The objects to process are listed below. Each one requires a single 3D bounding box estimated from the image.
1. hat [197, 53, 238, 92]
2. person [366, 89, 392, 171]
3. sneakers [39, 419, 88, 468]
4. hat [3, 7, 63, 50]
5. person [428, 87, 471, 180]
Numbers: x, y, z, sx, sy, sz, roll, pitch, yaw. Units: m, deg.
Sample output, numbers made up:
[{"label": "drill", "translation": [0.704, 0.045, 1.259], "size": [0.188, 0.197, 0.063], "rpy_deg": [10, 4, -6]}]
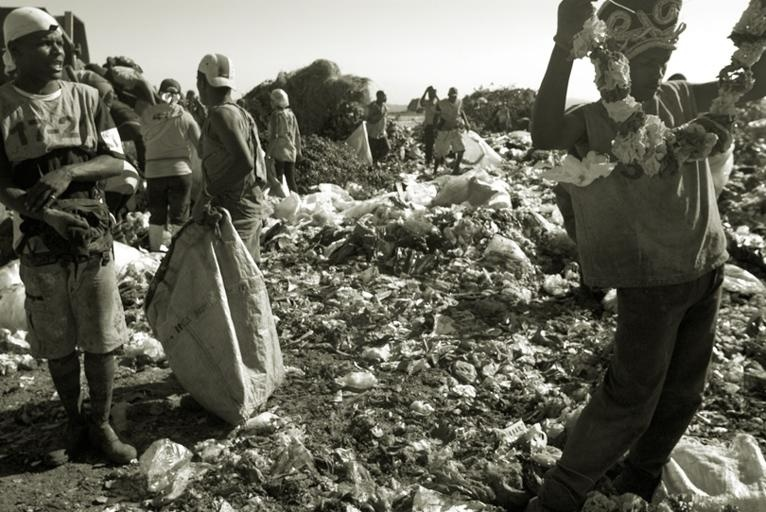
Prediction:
[{"label": "hat", "translation": [-1.200, -1.402, 4.920], "size": [0.279, 0.211, 0.403], "rpy_deg": [1, 30, -37]}, {"label": "person", "translation": [-0.093, -2.501, 12.803], "size": [0.447, 1.368, 0.582], "rpy_deg": [2, 10, -3]}, {"label": "sneakers", "translation": [-1.982, 1.197, 4.195], "size": [0.149, 0.241, 0.379], "rpy_deg": [5, 1, 11]}, {"label": "hat", "translation": [-2.072, -1.356, 3.881], "size": [0.288, 0.233, 0.267], "rpy_deg": [8, 12, 30]}, {"label": "person", "translation": [1.169, -2.156, 11.482], "size": [0.560, 1.476, 1.257], "rpy_deg": [3, 10, 4]}]
